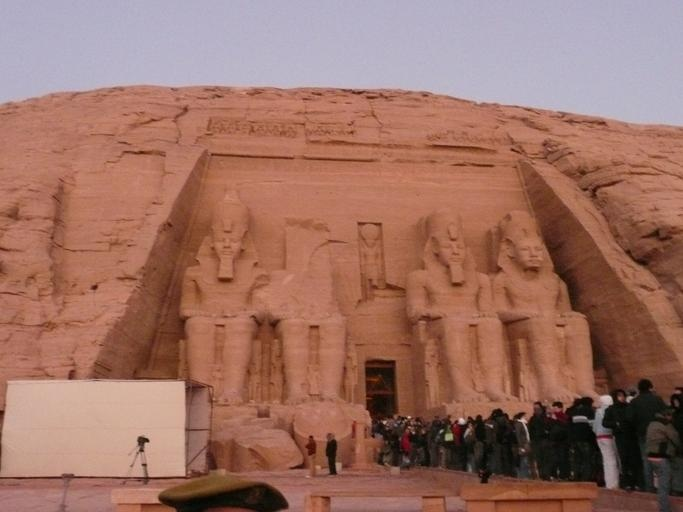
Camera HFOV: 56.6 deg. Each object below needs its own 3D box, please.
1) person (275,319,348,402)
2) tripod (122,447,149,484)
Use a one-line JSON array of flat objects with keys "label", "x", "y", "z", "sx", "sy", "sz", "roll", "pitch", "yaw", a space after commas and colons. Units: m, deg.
[{"label": "person", "x": -0.582, "y": 1.911, "z": 11.707, "sx": 1.702, "sy": 1.587, "sz": 0.982, "roll": 2, "pitch": -35, "yaw": -7}, {"label": "tripod", "x": -2.376, "y": 2.452, "z": 7.489, "sx": 0.285, "sy": 0.427, "sz": 0.325, "roll": 7, "pitch": -29, "yaw": -14}]
